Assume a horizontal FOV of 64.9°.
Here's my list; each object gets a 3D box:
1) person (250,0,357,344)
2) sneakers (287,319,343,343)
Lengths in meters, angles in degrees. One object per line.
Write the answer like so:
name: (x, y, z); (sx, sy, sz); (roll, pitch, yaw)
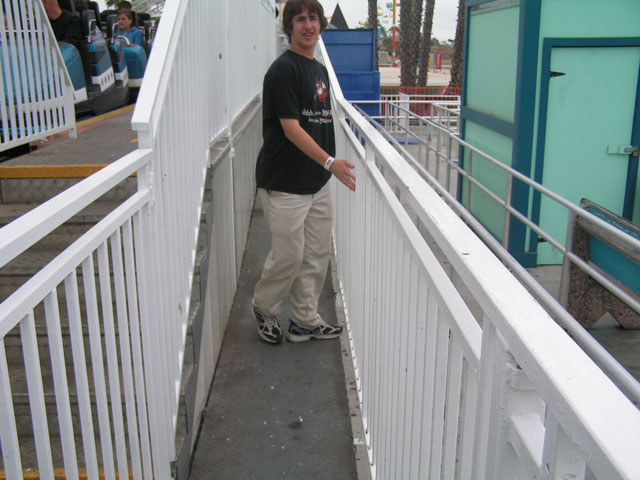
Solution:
person: (-0.101, -0.368, 3.684); (0.830, 2.526, 0.709); (12, 25, 29)
sneakers: (-0.039, 0.700, 4.068); (0.421, 0.215, 0.168); (-2, 11, -11)
